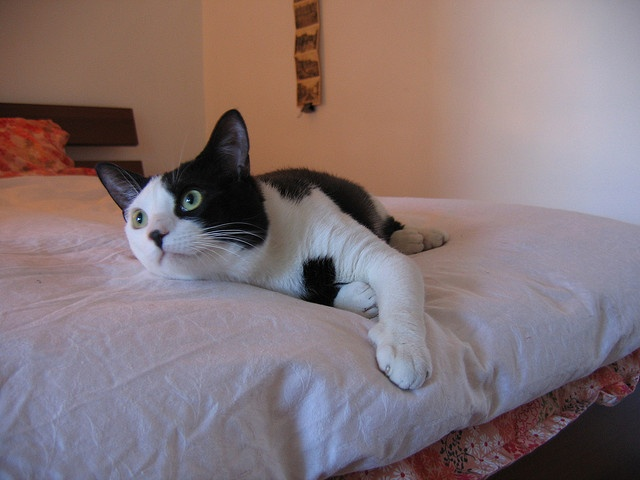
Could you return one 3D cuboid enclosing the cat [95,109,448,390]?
[{"bbox_3d":[-0.082,-0.015,1.340,0.730,0.560,1.073,-16,4,18],"label":"cat"}]
